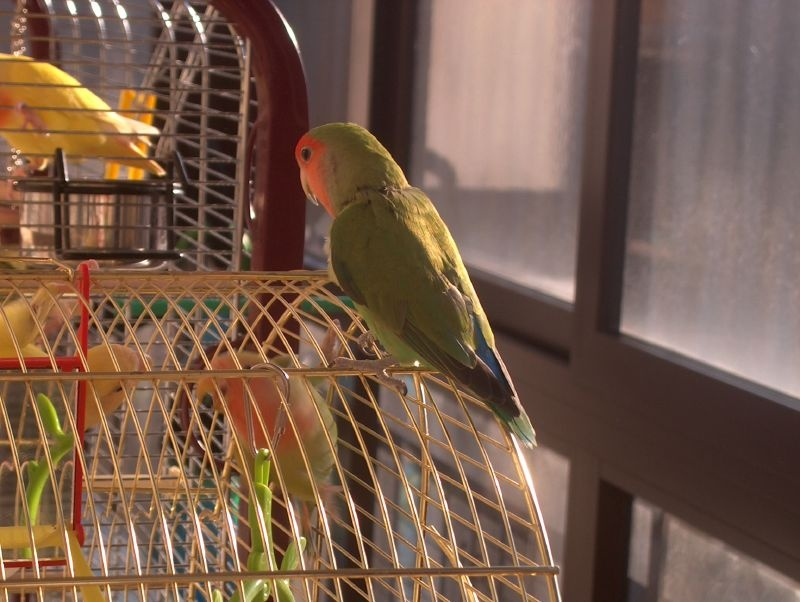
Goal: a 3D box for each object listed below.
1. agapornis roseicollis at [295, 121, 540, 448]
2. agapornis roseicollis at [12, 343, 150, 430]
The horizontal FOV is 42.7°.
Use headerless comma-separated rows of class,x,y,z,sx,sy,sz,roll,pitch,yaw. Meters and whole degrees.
agapornis roseicollis,-0.002,-0.033,1.065,0.142,0.287,0.350,-3,12,-27
agapornis roseicollis,-0.325,0.085,1.016,0.092,0.110,0.049,22,14,-30
